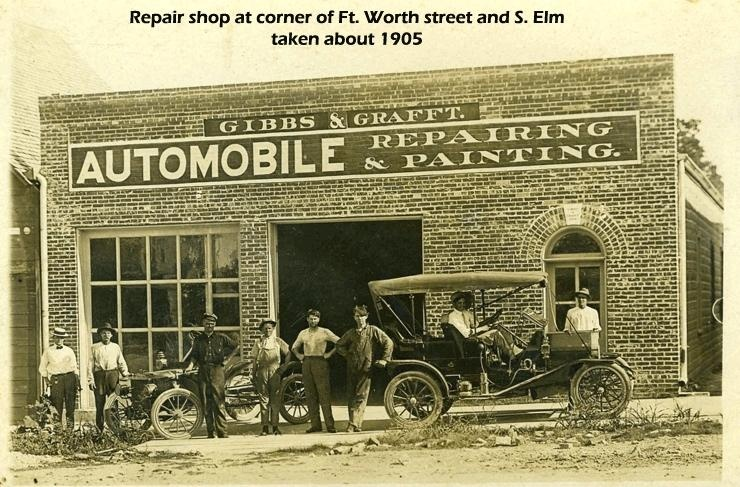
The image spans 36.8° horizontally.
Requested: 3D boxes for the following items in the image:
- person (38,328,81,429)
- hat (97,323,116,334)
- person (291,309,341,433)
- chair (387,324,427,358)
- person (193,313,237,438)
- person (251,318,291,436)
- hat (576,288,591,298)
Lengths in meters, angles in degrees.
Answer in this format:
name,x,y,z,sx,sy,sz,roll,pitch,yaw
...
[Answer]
name,x,y,z,sx,sy,sz,roll,pitch,yaw
person,-5.927,2.563,21.223,0.717,1.939,0.572,0,-7,-15
hat,-5.037,1.574,21.286,0.291,0.116,0.306,1,-17,-7
person,-0.993,2.348,20.422,0.800,2.232,0.472,-2,-7,-4
chair,0.658,1.857,20.460,0.864,0.506,0.548,7,-7,0
person,-2.970,2.450,20.462,0.613,2.248,0.484,-1,-7,-6
person,-1.841,2.472,20.603,0.658,2.107,0.315,-2,-7,-2
hat,4.014,0.915,20.870,0.203,0.113,0.223,18,-2,5
